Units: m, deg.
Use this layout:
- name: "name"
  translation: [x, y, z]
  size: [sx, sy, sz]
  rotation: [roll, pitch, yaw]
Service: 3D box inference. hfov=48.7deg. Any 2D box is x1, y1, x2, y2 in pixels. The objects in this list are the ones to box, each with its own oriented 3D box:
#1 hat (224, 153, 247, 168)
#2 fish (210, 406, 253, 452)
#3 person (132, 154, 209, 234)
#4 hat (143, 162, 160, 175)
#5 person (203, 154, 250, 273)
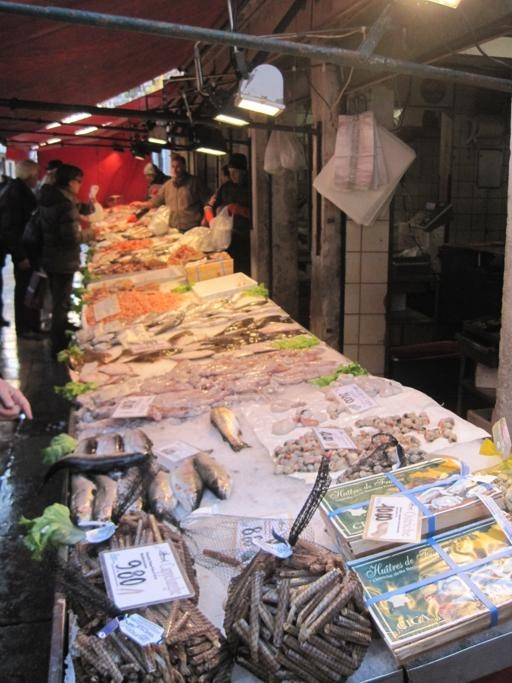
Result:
- name: "hat"
  translation: [-0.300, -2.653, 8.476]
  size: [0.318, 0.224, 0.295]
  rotation: [-2, 34, -19]
- name: "fish"
  translation: [-0.143, 0.427, 2.841]
  size: [0.154, 0.091, 0.407]
  rotation: [-18, 28, -10]
- name: "person"
  translation: [-1.169, -2.433, 9.366]
  size: [0.700, 1.243, 0.678]
  rotation: [-2, 9, -5]
- name: "hat"
  translation: [-2.286, -3.669, 12.055]
  size: [0.280, 0.228, 0.384]
  rotation: [-23, 28, -37]
- name: "person"
  translation: [-0.405, -1.952, 8.861]
  size: [0.572, 1.821, 1.482]
  rotation: [-3, 9, -7]
